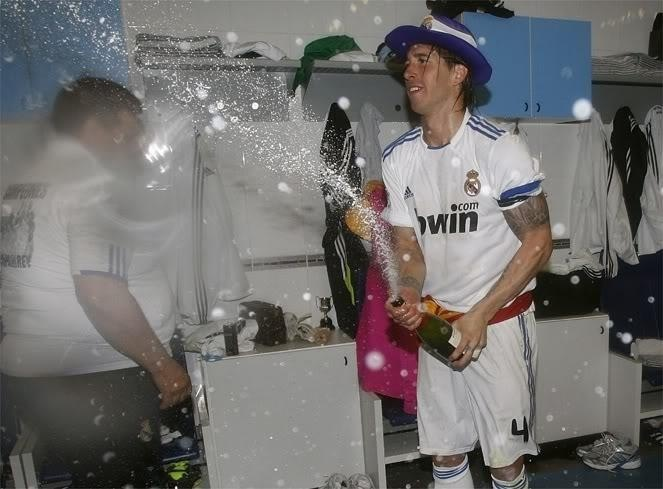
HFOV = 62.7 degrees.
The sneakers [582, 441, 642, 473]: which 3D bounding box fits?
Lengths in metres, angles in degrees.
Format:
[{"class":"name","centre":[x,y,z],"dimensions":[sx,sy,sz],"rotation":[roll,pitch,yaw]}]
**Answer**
[{"class":"sneakers","centre":[1.658,1.257,3.245],"dimensions":[0.343,0.173,0.148],"rotation":[1,2,-2]}]

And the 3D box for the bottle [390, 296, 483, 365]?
[{"class":"bottle","centre":[0.459,0.388,2.348],"dimensions":[0.330,0.370,0.270],"rotation":[-4,3,25]}]

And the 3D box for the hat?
[{"class":"hat","centre":[0.555,-0.960,2.617],"dimensions":[0.546,0.194,0.488],"rotation":[22,3,21]}]

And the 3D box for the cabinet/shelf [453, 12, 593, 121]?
[{"class":"cabinet/shelf","centre":[1.236,-1.076,3.438],"dimensions":[0.714,0.613,0.286],"rotation":[0,6,6]}]

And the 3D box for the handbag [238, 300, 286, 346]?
[{"class":"handbag","centre":[-0.383,0.484,3.233],"dimensions":[0.182,0.252,0.338],"rotation":[1,-1,0]}]
